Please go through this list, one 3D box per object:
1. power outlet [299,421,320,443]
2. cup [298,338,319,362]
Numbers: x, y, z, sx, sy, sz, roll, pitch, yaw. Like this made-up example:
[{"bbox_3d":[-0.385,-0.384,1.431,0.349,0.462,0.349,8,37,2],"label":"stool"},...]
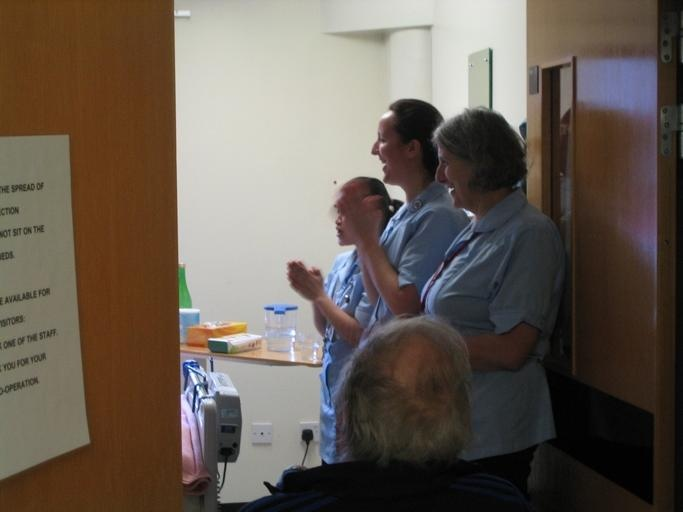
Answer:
[{"bbox_3d":[-0.061,0.333,1.223,0.036,0.047,0.004,0,-12,-13],"label":"power outlet"},{"bbox_3d":[-0.062,0.173,1.220,0.037,0.035,0.038,0,3,0],"label":"cup"}]
